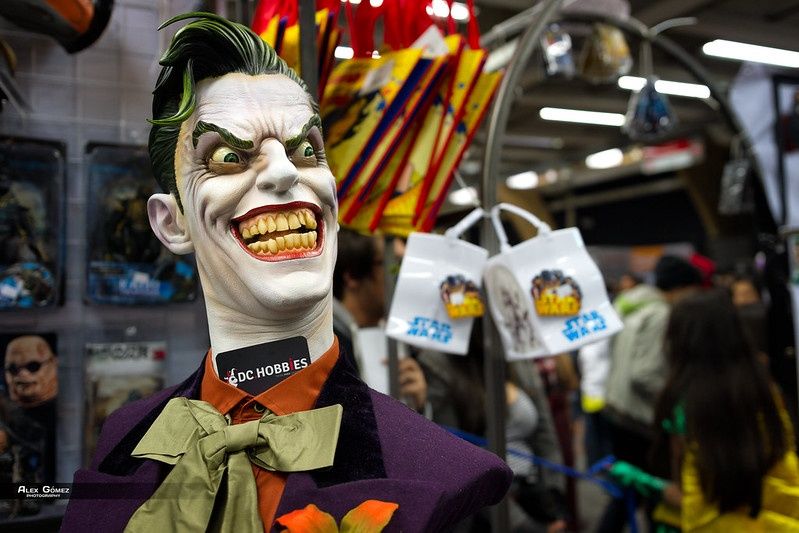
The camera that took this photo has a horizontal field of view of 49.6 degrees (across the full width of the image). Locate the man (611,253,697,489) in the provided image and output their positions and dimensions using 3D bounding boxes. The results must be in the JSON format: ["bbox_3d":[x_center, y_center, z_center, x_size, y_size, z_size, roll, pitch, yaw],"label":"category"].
[{"bbox_3d":[0.844,0.362,2.859,0.274,0.810,0.334,-7,26,-9],"label":"man"}]
